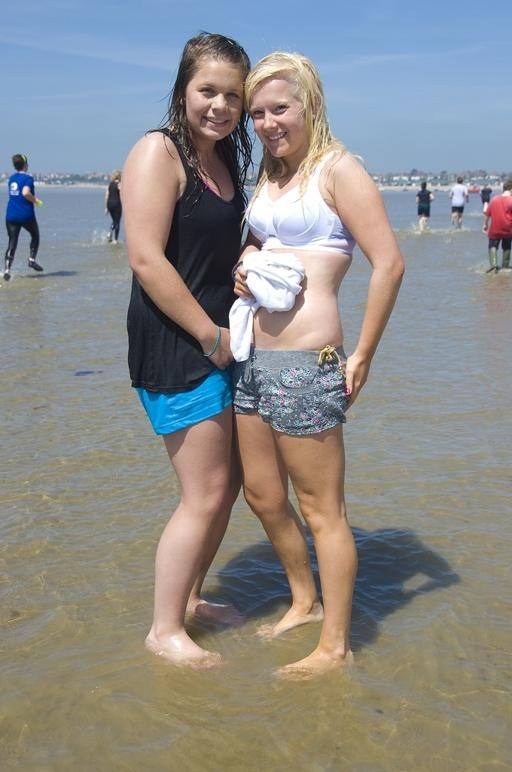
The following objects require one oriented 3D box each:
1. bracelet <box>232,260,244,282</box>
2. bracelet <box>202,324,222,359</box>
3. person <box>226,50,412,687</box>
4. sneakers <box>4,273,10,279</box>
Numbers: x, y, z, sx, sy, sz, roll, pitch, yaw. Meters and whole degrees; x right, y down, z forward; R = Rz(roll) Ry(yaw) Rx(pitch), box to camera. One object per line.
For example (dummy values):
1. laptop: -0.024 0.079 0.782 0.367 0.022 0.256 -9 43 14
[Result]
1. bracelet: -0.065 -0.402 2.560 0.019 0.063 0.071 28 32 11
2. bracelet: -0.140 -0.145 2.495 0.024 0.085 0.091 25 -19 1
3. person: 0.148 -0.054 2.573 0.429 2.081 0.555 -6 11 -31
4. sneakers: -4.454 -1.955 13.238 0.130 0.112 0.128 0 14 1
